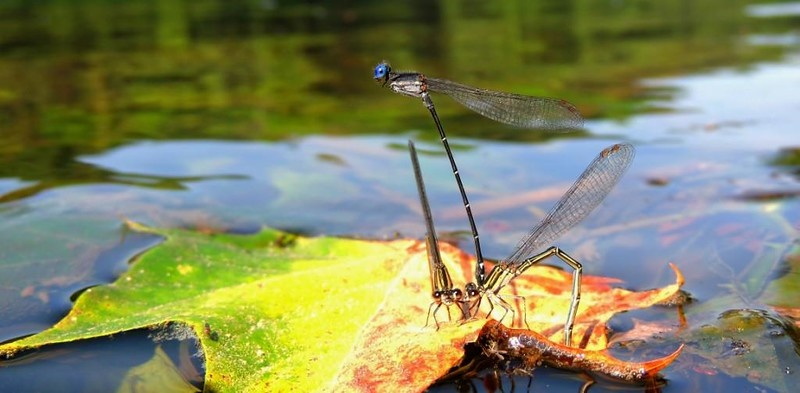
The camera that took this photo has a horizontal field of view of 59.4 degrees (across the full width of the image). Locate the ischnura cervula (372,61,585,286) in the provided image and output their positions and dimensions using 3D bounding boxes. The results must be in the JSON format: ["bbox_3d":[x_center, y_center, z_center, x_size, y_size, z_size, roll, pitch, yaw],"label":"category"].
[{"bbox_3d":[0.661,-0.338,4.855,0.779,2.207,1.393,0,2,-27],"label":"ischnura cervula"}]

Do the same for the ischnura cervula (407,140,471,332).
[{"bbox_3d":[0.164,0.215,4.289,0.369,1.096,0.398,1,2,-7],"label":"ischnura cervula"}]
